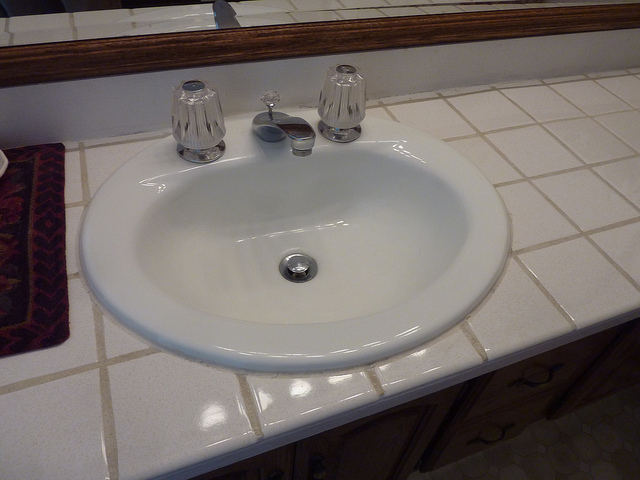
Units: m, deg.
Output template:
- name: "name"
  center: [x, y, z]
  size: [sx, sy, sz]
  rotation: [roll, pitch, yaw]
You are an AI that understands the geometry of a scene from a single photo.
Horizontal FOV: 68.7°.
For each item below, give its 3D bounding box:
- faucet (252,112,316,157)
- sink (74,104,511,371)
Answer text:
- name: "faucet"
  center: [-0.062, -0.202, 0.850]
  size: [0.064, 0.049, 0.135]
  rotation: [-16, 39, -26]
- name: "sink"
  center: [-0.036, -0.018, 0.830]
  size: [0.733, 0.226, 0.524]
  rotation: [0, 45, 1]
